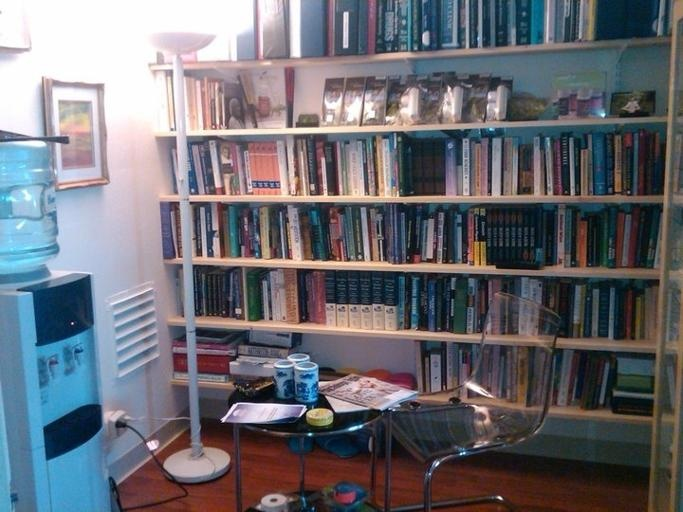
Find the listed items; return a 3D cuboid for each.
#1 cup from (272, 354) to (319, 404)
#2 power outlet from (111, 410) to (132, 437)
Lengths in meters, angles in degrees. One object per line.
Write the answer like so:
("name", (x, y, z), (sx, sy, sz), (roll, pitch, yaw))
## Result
("cup", (-0.190, 0.519, 2.640), (0.225, 0.150, 0.132), (3, 4, 38))
("power outlet", (-1.136, 0.853, 3.156), (0.105, 0.106, 0.122), (1, 0, 2))
